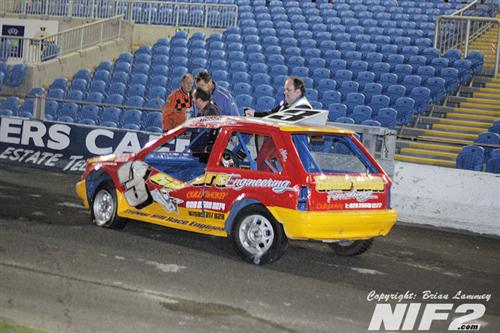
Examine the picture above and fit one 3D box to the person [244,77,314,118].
[{"bbox_3d":[0.715,-1.566,14.413,1.221,0.912,1.380,-2,11,-1],"label":"person"}]
